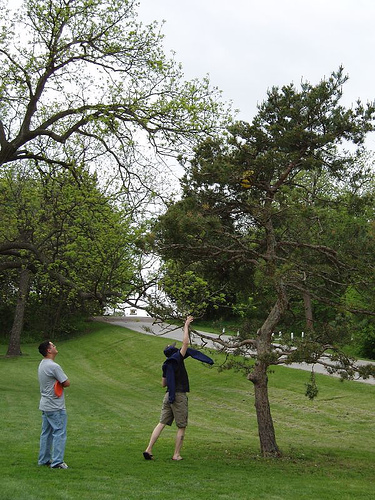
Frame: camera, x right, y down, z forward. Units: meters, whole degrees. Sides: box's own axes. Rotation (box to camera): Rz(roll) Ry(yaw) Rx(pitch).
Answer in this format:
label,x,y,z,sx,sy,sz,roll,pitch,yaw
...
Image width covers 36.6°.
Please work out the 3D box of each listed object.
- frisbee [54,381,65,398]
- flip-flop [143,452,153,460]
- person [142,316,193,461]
label,x,y,z,sx,sy,sz,roll,pitch,yaw
frisbee,-1.703,1.838,7.511,0.097,0.216,0.245,5,-8,8
flip-flop,-0.601,3.085,8.529,0.154,0.117,0.146,6,-8,-5
person,-0.265,2.072,8.539,0.593,2.190,0.683,6,-9,-2
